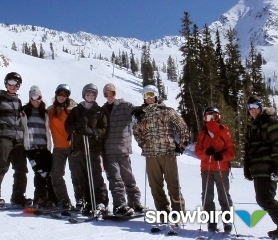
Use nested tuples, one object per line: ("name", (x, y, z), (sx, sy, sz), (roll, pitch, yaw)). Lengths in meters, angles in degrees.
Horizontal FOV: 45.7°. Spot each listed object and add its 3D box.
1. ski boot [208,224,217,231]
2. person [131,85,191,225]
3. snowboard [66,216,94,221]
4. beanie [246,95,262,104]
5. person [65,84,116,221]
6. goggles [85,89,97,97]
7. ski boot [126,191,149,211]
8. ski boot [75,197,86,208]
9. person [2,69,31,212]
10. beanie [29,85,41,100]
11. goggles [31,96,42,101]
("ski boot", (1.365, 1.968, 6.115), (0.157, 0.087, 0.078), (3, 0, 10))
("person", (0.430, 0.635, 6.527), (1.065, 2.408, 0.488), (2, -1, 10))
("snowboard", (-1.089, 1.895, 6.414), (0.308, 0.069, 0.190), (-1, -10, -6))
("beanie", (2.141, -0.381, 6.234), (0.131, 0.195, 0.184), (-6, -1, 9))
("person", (-1.005, 0.592, 6.756), (0.995, 2.688, 0.949), (2, 0, 5))
("goggles", (-0.994, -0.564, 6.937), (0.267, 0.159, 0.147), (3, 0, -32))
("ski boot", (-0.047, 1.731, 7.127), (0.461, 0.380, 0.260), (3, 0, -1))
("ski boot", (-1.238, 1.762, 7.087), (0.129, 0.316, 0.395), (-4, 3, 2))
("person", (-2.614, 0.371, 7.057), (0.647, 3.103, 0.633), (2, -1, -18))
("beanie", (-2.276, -0.611, 7.301), (0.268, 0.297, 0.218), (-22, -19, 41))
("goggles", (-2.236, -0.466, 7.225), (0.222, 0.114, 0.115), (3, 0, -23))
